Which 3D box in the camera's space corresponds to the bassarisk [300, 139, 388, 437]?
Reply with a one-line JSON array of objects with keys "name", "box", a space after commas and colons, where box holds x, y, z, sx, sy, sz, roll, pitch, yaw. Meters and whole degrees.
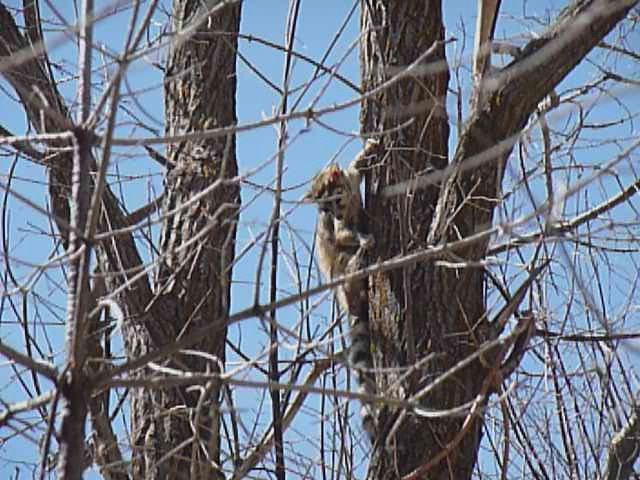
[{"name": "bassarisk", "box": [0.203, 0.202, 12.207, 0.535, 2.617, 0.901, -4, 2, -35]}]
